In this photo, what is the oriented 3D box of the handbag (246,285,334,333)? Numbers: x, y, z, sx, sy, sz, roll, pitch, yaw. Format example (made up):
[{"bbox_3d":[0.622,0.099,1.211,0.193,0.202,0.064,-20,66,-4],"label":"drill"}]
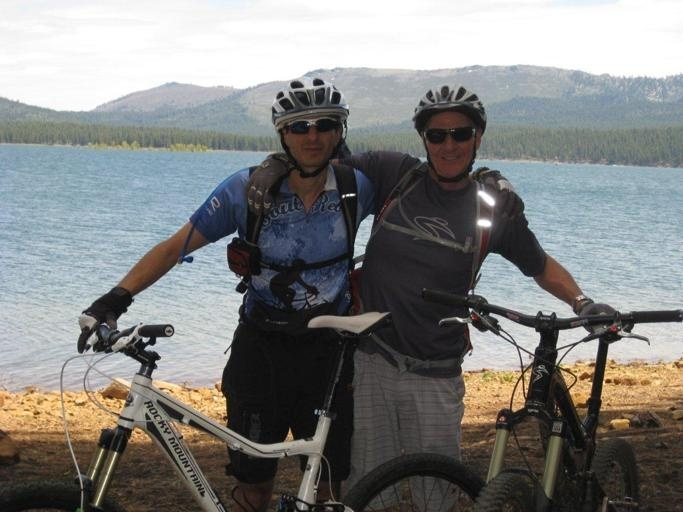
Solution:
[{"bbox_3d":[-0.479,0.469,6.301,0.542,0.165,0.365,16,-1,-12],"label":"handbag"}]

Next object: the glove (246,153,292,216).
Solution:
[{"bbox_3d":[-0.615,-0.624,6.330,0.361,0.533,0.229,-8,-35,32],"label":"glove"}]

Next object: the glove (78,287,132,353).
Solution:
[{"bbox_3d":[-1.815,0.475,5.565,0.361,0.406,0.619,0,13,5],"label":"glove"}]

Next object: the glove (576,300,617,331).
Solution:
[{"bbox_3d":[1.991,0.443,5.741,0.236,0.300,0.160,19,-32,6],"label":"glove"}]
